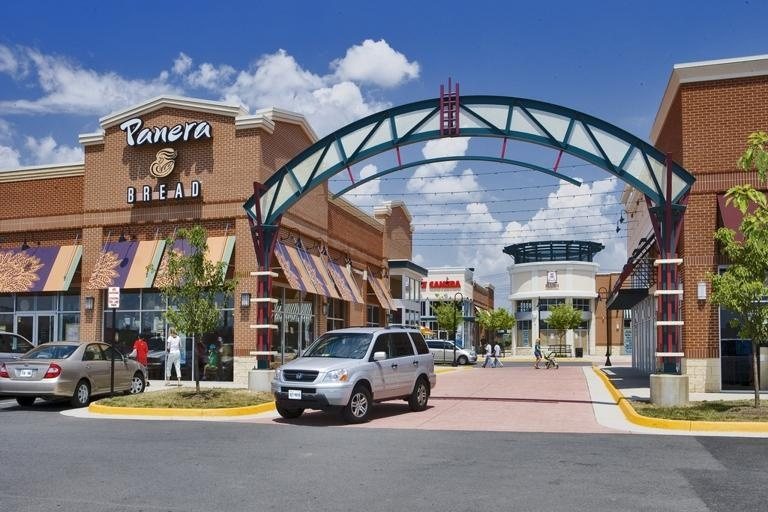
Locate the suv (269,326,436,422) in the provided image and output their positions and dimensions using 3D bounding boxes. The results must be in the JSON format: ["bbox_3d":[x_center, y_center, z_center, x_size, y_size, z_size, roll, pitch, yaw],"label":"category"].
[{"bbox_3d":[-0.740,3.373,22.150,2.044,2.870,4.684,-10,-15,41],"label":"suv"}]
